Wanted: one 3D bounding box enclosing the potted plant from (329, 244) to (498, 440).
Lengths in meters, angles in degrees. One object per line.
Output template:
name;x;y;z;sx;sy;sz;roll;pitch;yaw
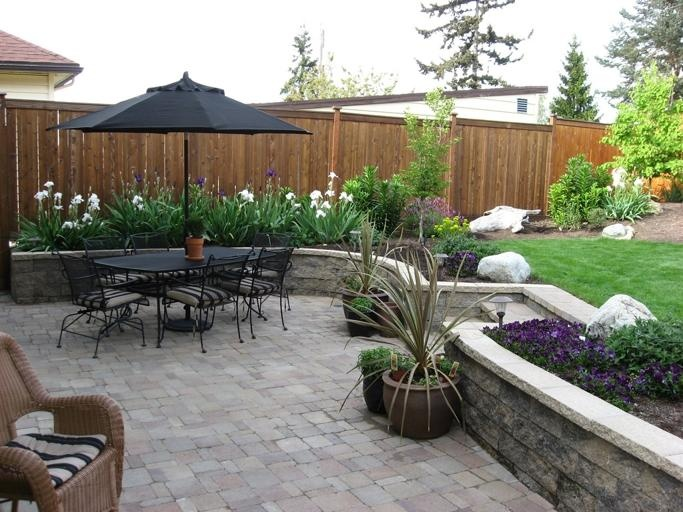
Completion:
potted plant;0.533;0.817;3.678;0.973;1.068;0.925;-9;-12;-15

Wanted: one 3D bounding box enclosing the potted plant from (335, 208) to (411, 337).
potted plant;0.405;0.306;5.888;0.855;1.238;0.650;3;-2;16

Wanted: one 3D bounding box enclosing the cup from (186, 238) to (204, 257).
cup;-1.759;-0.092;5.611;0.241;0.228;0.223;0;-1;0

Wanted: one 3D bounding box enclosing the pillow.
pillow;-1.351;0.900;2.253;0.312;0.083;0.297;8;4;15
